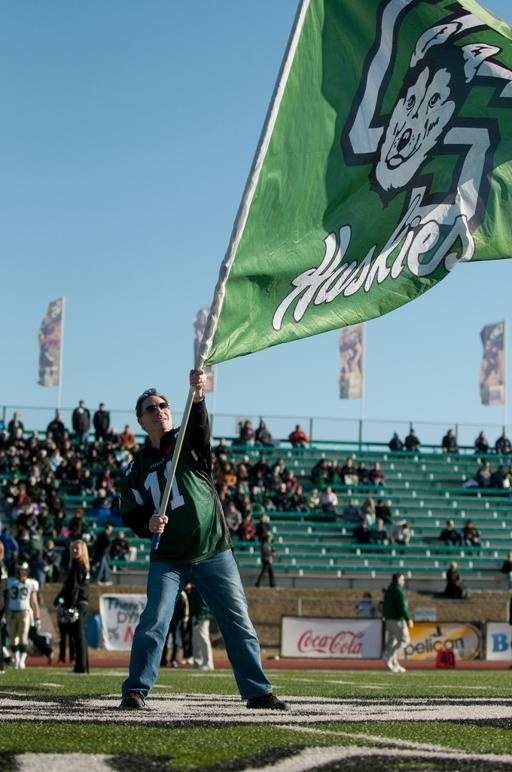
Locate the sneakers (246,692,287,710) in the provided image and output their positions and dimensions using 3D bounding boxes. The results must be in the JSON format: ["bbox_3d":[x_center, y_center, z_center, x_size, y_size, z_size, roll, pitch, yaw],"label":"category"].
[{"bbox_3d":[0.066,1.773,7.959,0.249,0.099,0.081,-1,-3,6],"label":"sneakers"}]

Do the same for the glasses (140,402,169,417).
[{"bbox_3d":[-0.582,0.139,8.173,0.135,0.043,0.137,-13,-18,-26],"label":"glasses"}]

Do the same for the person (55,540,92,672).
[{"bbox_3d":[-2.009,2.453,15.651,0.371,1.459,1.536,1,-7,-8],"label":"person"}]

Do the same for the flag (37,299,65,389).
[{"bbox_3d":[-4.866,-1.057,34.007,0.516,2.294,1.544,1,-7,-9],"label":"flag"}]

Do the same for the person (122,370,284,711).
[{"bbox_3d":[-0.341,0.886,8.050,0.828,1.865,0.636,1,-7,-6],"label":"person"}]

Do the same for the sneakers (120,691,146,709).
[{"bbox_3d":[-0.661,1.721,7.716,0.135,0.089,0.201,0,-7,-5],"label":"sneakers"}]
